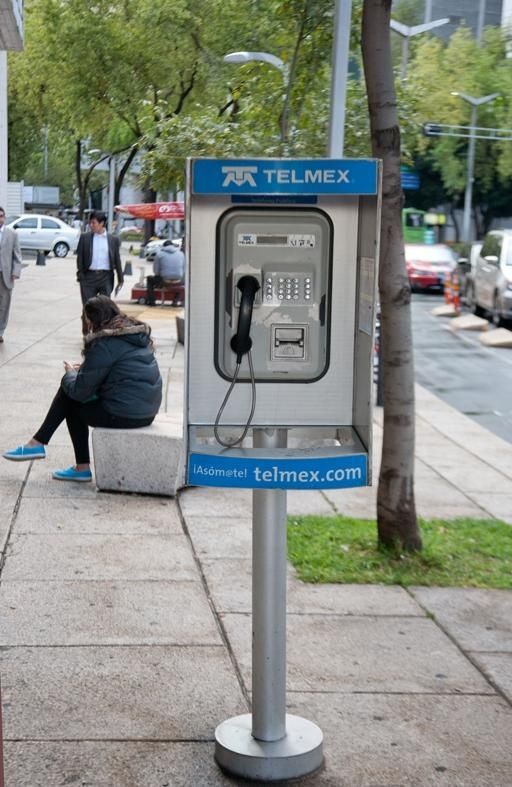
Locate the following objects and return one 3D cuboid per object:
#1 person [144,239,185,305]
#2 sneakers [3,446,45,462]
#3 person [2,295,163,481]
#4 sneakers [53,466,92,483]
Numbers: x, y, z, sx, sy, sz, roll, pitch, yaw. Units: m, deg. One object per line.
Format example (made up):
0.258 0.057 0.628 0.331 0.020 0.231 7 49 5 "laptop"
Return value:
-2.487 -3.287 19.725 0.932 1.828 0.795 2 5 -9 "person"
-1.861 0.469 5.648 0.383 0.148 0.139 -1 -1 3 "sneakers"
-1.237 -0.003 5.592 0.973 1.483 0.445 3 5 -7 "person"
-1.467 0.661 5.866 0.336 0.134 0.122 4 1 6 "sneakers"
